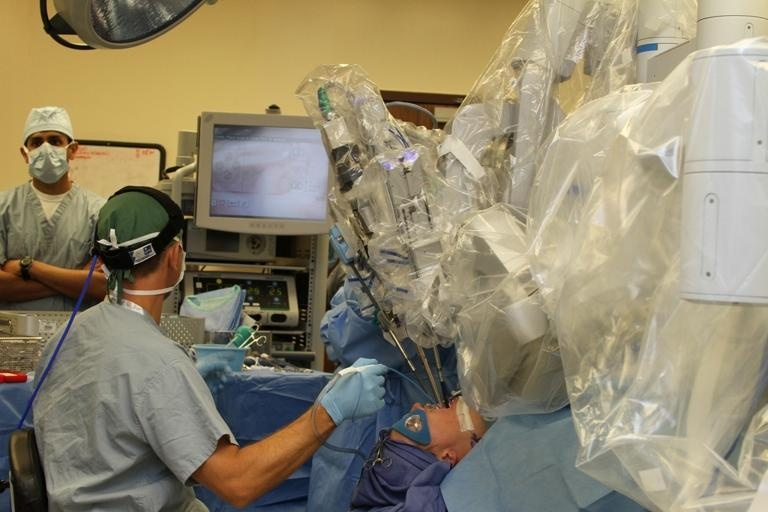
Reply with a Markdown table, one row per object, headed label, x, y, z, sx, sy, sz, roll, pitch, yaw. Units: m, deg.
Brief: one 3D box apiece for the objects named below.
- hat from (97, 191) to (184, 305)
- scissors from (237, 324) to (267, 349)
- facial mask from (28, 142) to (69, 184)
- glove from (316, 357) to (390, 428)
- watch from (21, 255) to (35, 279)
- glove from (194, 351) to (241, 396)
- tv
| label | x | y | z | sx | sy | sz | roll | pitch | yaw |
| --- | --- | --- | --- | --- | --- | --- | --- | --- | --- |
| hat | -0.680 | -0.061 | 1.949 | 0.207 | 0.276 | 0.277 | 3 | 24 | 22 |
| scissors | -0.536 | 0.349 | 2.888 | 0.023 | 0.113 | 0.111 | -10 | 36 | 54 |
| facial mask | -1.556 | -0.443 | 3.250 | 0.184 | 0.190 | 0.217 | -6 | 9 | -15 |
| glove | -0.069 | 0.358 | 1.859 | 0.194 | 0.128 | 0.059 | -31 | 20 | -31 |
| watch | -1.618 | 0.043 | 3.169 | 0.057 | 0.108 | 0.091 | 0 | -23 | -11 |
| glove | -0.581 | 0.394 | 2.413 | 0.150 | 0.121 | 0.161 | -1 | -9 | -1 |
| tv | -0.636 | -0.413 | 3.566 | 0.637 | 0.628 | 0.070 | 0 | 1 | -5 |
